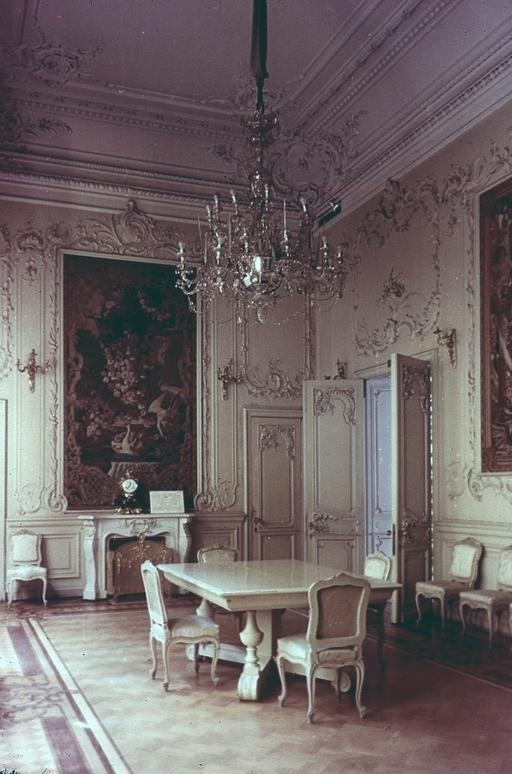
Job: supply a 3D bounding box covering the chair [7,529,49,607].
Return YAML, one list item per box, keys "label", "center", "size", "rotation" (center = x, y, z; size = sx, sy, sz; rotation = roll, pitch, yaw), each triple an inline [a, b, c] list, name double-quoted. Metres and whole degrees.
- label: "chair"
  center: [-2.508, 1.970, 7.485]
  size: [0.441, 0.770, 0.604]
  rotation: [2, -8, -17]

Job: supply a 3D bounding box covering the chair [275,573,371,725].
- label: "chair"
  center: [0.408, 1.464, 3.966]
  size: [0.414, 0.791, 0.506]
  rotation: [3, -8, -23]

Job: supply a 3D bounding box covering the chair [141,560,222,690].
- label: "chair"
  center: [-0.521, 1.577, 4.724]
  size: [0.513, 0.810, 0.890]
  rotation: [0, -8, -4]

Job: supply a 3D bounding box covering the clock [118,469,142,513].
- label: "clock"
  center: [-1.511, 1.248, 8.146]
  size: [0.288, 0.472, 0.213]
  rotation: [1, -8, -12]
